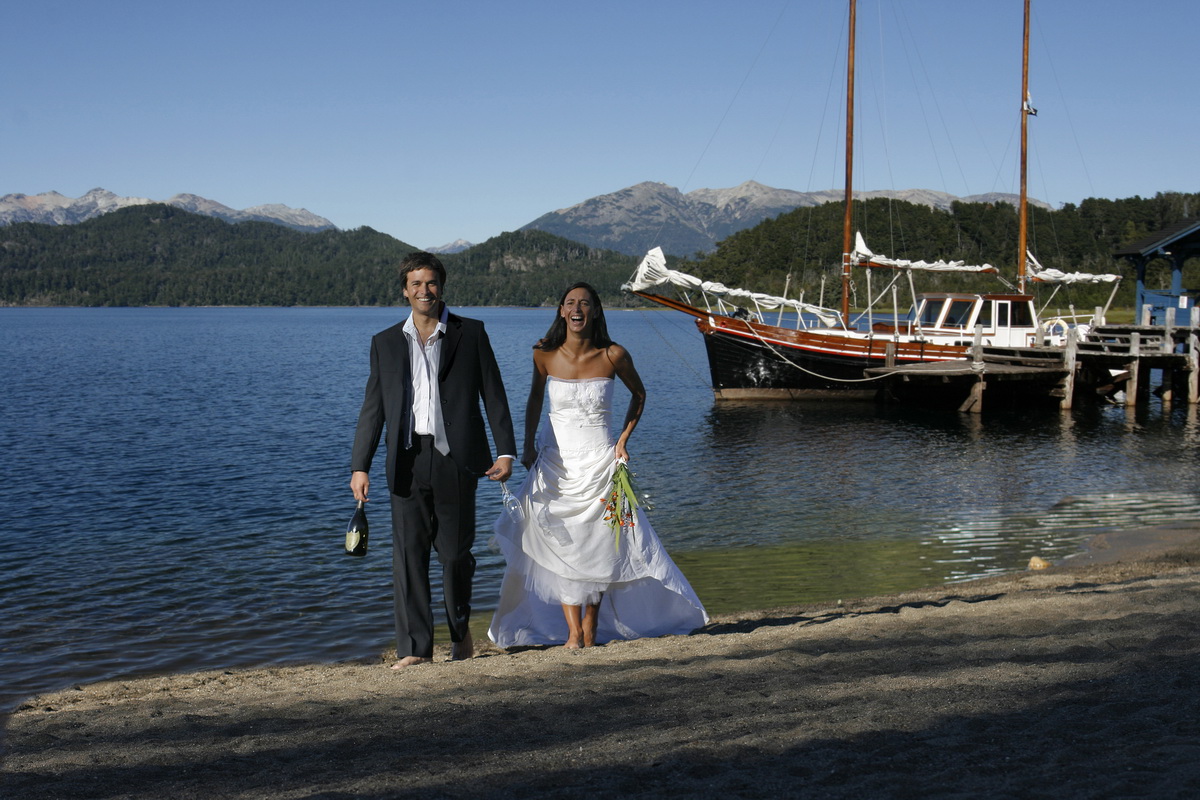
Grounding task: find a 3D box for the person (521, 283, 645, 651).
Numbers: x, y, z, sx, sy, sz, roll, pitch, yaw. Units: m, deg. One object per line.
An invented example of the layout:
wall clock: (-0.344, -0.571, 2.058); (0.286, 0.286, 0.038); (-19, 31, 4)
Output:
person: (-0.179, -0.214, 9.816); (1.135, 1.733, 0.678); (0, 2, -4)
